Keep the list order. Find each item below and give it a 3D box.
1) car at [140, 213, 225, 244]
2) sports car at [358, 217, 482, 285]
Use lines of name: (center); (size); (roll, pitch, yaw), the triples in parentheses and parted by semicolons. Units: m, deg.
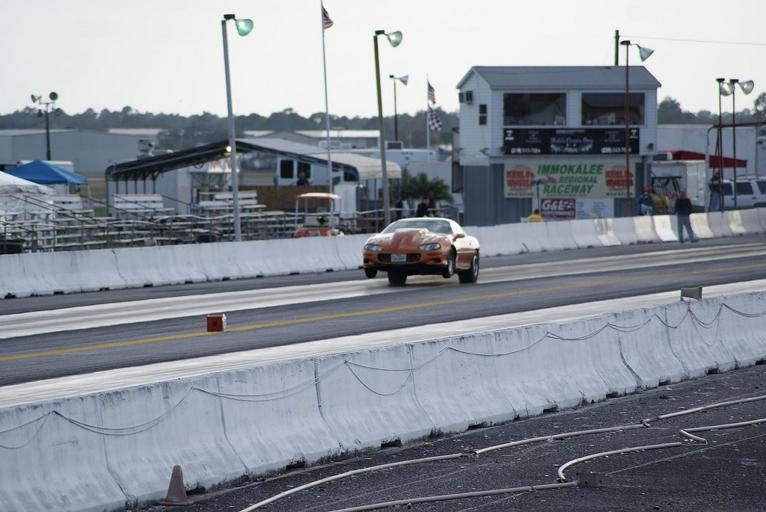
car: (-7.999, -1.020, 64.613); (2.173, 0.875, 1.777); (-2, 5, -39)
sports car: (1.271, -0.213, 50.313); (2.969, 2.014, 5.493); (0, -2, 18)
